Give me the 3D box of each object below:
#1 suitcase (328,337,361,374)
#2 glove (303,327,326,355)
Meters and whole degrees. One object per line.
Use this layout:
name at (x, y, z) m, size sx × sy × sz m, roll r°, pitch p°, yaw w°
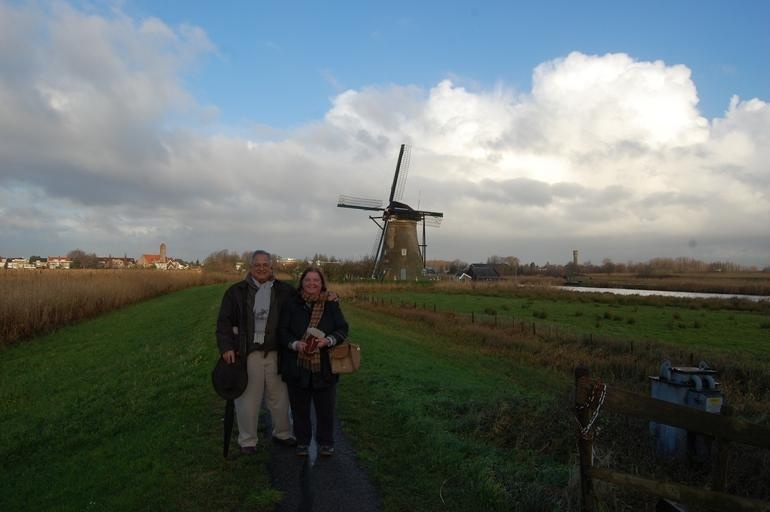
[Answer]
suitcase at (-0.929, 2.360, 11.373) m, size 0.676 × 0.790 × 0.301 m, roll 0°, pitch 4°, yaw -7°
glove at (-1.615, 1.939, 11.390) m, size 0.503 × 0.586 × 0.250 m, roll 1°, pitch 4°, yaw 7°
